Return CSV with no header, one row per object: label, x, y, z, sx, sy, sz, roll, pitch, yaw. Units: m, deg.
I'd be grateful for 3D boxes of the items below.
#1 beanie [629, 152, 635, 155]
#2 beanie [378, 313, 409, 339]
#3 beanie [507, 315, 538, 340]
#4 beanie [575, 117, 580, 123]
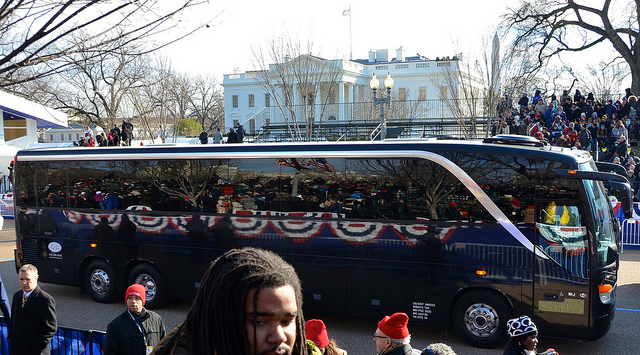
beanie,15.448,-1.221,34.146,0.211,0.112,0.207,-8,5,12
beanie,1.953,3.965,18.510,0.805,0.496,0.531,3,11,15
beanie,5.443,4.009,18.709,0.740,0.506,0.541,-19,2,13
beanie,13.518,-3.023,36.084,0.210,0.234,0.267,16,35,37
